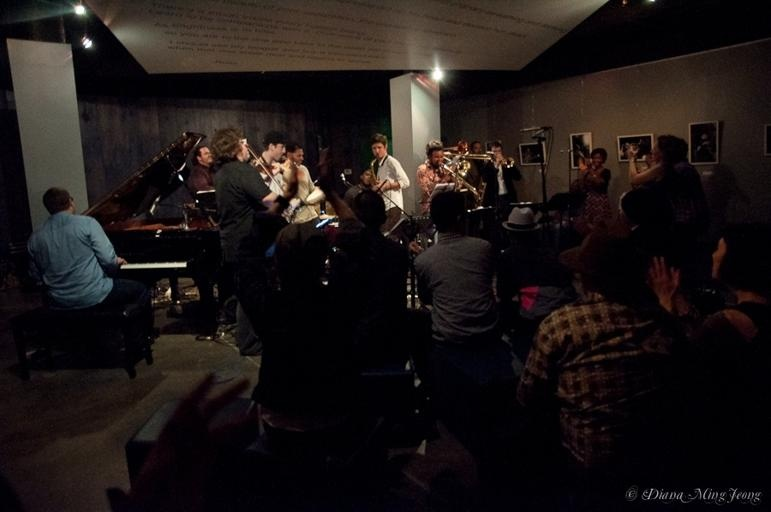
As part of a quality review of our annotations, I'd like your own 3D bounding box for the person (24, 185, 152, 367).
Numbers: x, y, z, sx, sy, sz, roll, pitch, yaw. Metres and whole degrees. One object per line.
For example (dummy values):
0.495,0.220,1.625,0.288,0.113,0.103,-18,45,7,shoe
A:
-3.238,0.207,6.271,1.198,1.846,1.196,-8,-1,29,person
